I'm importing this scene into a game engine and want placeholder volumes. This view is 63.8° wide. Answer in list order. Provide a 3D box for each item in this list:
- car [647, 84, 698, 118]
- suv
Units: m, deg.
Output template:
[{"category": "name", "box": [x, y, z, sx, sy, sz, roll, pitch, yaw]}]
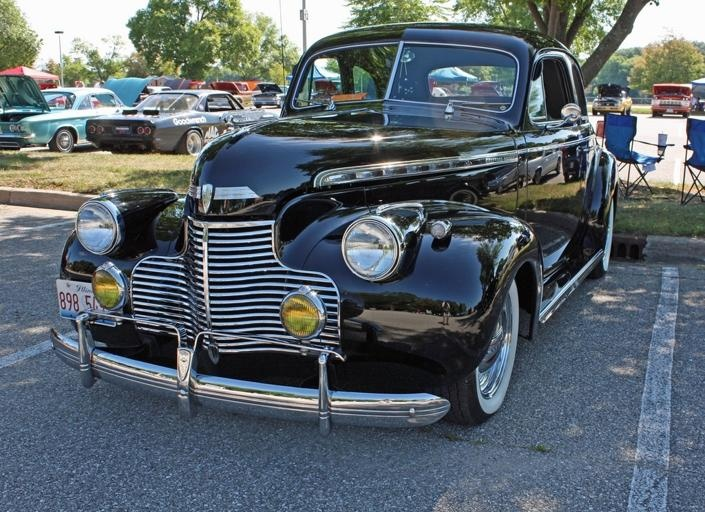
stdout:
[{"category": "car", "box": [25.295, -12.278, 44.849, 2.601, 2.528, 2.386, 9, 17, 31]}, {"category": "suv", "box": [0.545, -0.592, 4.623, 2.540, 1.777, 4.574, 3, 11, 32]}]
